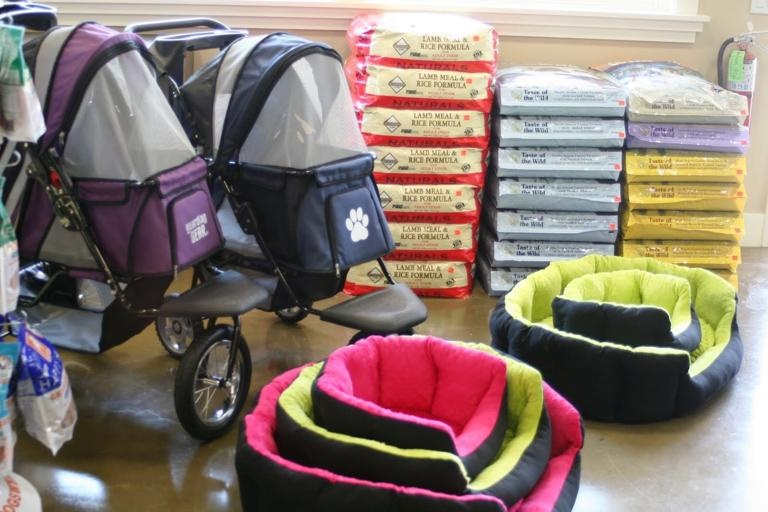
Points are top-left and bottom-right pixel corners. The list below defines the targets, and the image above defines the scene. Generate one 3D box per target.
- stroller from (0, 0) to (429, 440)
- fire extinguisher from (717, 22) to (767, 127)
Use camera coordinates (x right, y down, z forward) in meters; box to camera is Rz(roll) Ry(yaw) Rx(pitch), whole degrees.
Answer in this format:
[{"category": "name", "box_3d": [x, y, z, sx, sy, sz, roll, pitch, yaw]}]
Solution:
[{"category": "stroller", "box_3d": [-0.820, -0.263, 3.056, 1.798, 1.577, 1.335, 10, 16, 31]}, {"category": "fire extinguisher", "box_3d": [2.170, -1.124, 4.011, 0.260, 0.601, 0.260, 8, 18, 27]}]
